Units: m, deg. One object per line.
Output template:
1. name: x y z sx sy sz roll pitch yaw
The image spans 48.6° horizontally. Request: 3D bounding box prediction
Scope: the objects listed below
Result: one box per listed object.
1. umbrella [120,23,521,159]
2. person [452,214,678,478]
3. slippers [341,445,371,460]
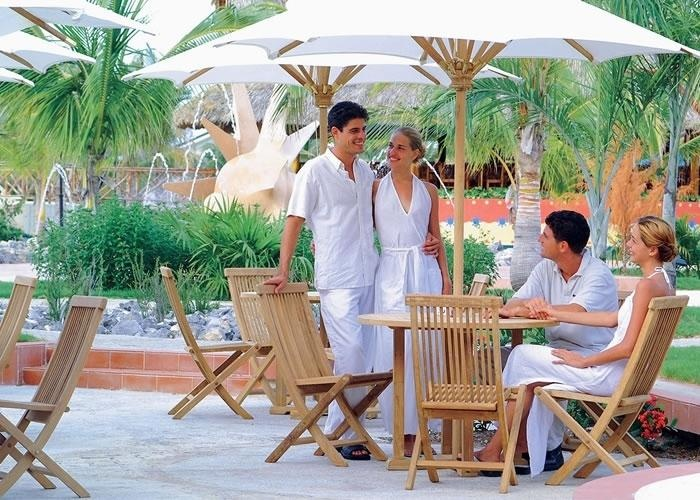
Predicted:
1. umbrella: -0.237 -1.576 7.963 2.632 1.158 2.788 -13 -4 36
2. person: 1.536 0.683 5.201 1.185 1.813 0.673 1 1 22
3. slippers: 0.039 1.537 5.869 0.239 0.106 0.090 0 -3 18
